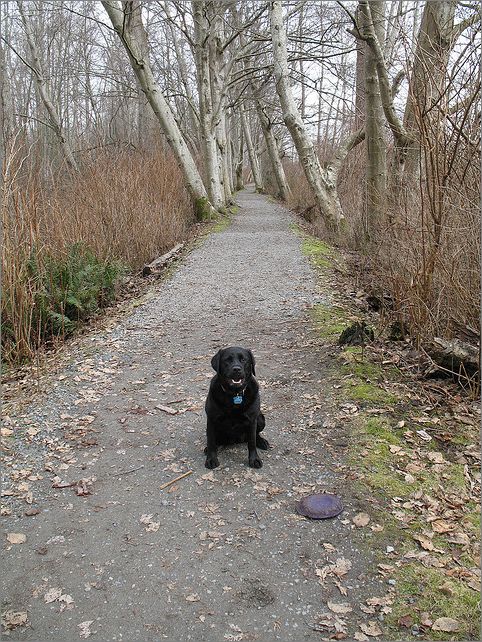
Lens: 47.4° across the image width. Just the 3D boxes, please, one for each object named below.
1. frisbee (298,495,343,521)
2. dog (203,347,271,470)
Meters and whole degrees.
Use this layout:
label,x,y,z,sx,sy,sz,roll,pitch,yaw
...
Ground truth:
label,x,y,z,sx,sy,sz,roll,pitch,yaw
frisbee,0.412,0.966,2.836,0.244,0.034,0.192,-8,13,3
dog,-0.024,0.467,3.372,0.373,0.777,0.719,0,15,1
